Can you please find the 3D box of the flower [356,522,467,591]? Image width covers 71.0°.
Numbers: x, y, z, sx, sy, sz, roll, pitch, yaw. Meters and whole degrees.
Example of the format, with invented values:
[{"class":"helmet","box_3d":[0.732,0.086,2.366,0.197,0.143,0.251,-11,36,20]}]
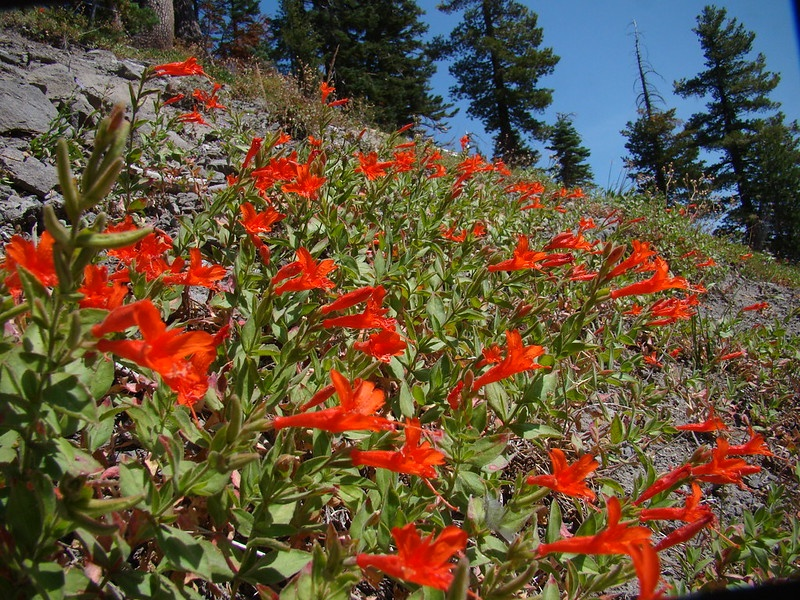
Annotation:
[{"class":"flower","box_3d":[0.027,0.948,2.167,0.425,0.200,0.408,0,1,9]}]
